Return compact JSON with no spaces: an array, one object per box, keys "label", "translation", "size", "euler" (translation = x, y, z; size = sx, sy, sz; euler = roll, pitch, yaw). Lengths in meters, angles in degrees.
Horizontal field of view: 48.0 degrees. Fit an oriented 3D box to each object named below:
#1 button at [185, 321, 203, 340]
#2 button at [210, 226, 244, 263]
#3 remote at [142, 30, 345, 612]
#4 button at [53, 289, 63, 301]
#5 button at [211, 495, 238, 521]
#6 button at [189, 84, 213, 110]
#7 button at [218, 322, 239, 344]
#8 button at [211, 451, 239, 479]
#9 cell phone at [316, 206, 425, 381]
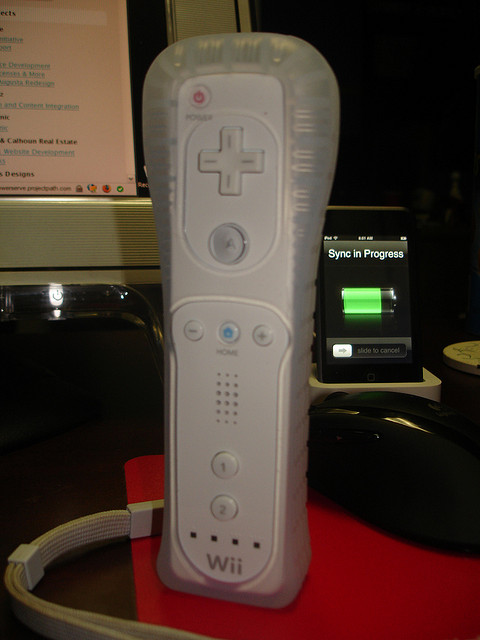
[{"label":"button","translation":[-0.024,0.005,0.278],"size":[0.008,0.009,0.002],"euler":[-13,2,26]},{"label":"button","translation":[-0.006,-0.037,0.265],"size":[0.017,0.017,0.003],"euler":[5,13,28]},{"label":"remote","translation":[-0.002,0.005,0.279],"size":[0.099,0.288,0.055],"euler":[1,12,14]},{"label":"button","translation":[-0.153,-0.021,0.454],"size":[0.005,0.009,0.002],"euler":[-2,19,-5]},{"label":"button","translation":[-0.007,0.097,0.279],"size":[0.013,0.014,0.002],"euler":[-2,2,14]},{"label":"button","translation":[-0.021,-0.108,0.264],"size":[0.010,0.011,0.003],"euler":[9,6,10]},{"label":"button","translation":[-0.006,0.006,0.272],"size":[0.010,0.011,0.002],"euler":[-9,1,25]},{"label":"button","translation":[-0.007,0.074,0.276],"size":[0.011,0.012,0.002],"euler":[20,5,10]},{"label":"cell phone","translation":[0.120,-0.021,0.499],"size":[0.092,0.175,0.018],"euler":[0,26,18]}]
